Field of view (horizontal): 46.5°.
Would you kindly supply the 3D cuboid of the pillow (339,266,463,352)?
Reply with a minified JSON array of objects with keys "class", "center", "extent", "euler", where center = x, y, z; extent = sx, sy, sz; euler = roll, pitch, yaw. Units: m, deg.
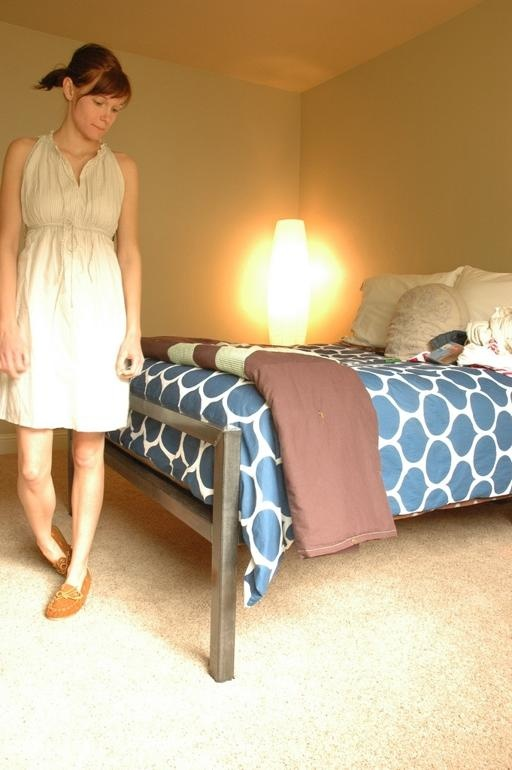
[{"class":"pillow","center":[0.712,-0.398,3.088],"extent":[0.145,0.457,0.478],"euler":[21,-8,-33]}]

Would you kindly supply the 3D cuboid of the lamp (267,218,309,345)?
[{"class":"lamp","center":[0.234,-0.722,4.183],"extent":[0.285,0.867,0.197],"euler":[0,4,-4]}]

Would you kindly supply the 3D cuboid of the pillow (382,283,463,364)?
[{"class":"pillow","center":[0.696,-0.273,2.533],"extent":[0.151,0.320,0.327],"euler":[15,0,-23]}]
